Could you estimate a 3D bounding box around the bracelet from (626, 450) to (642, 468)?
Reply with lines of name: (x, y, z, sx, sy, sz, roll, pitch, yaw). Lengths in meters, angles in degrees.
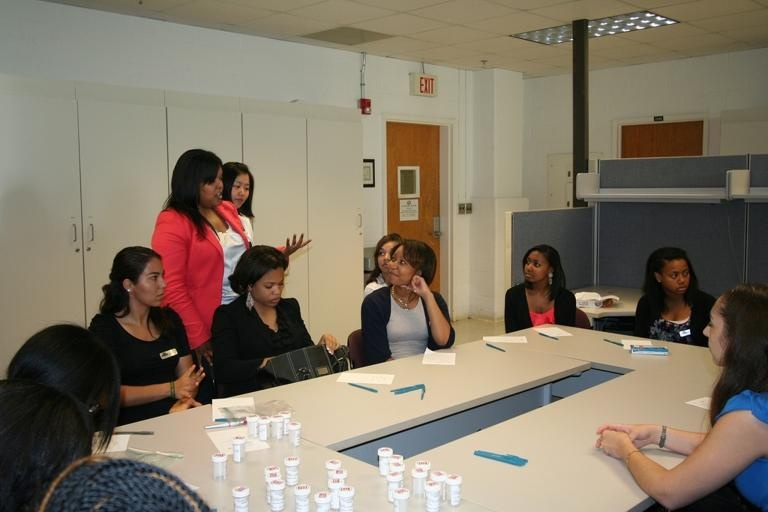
bracelet: (0.920, 0.748, 1.977, 0.052, 0.051, 0.016, -23, -35, 17)

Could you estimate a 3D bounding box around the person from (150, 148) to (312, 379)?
person: (-1.013, 0.352, 3.440, 0.568, 1.941, 0.923, 15, 18, 36)

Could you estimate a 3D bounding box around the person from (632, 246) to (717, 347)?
person: (2.072, 0.391, 3.830, 0.570, 0.873, 0.478, -4, 9, 17)

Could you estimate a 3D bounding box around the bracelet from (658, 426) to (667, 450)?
bracelet: (1.114, 0.721, 2.134, 0.020, 0.071, 0.050, 3, -2, 10)

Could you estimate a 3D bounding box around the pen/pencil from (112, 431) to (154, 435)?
pen/pencil: (-1.056, 0.743, 2.253, 0.134, 0.010, 0.019, 1, 11, -10)

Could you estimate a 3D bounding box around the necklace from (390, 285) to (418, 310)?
necklace: (0.128, 0.256, 3.321, 0.120, 0.096, 0.163, 19, 0, -3)
